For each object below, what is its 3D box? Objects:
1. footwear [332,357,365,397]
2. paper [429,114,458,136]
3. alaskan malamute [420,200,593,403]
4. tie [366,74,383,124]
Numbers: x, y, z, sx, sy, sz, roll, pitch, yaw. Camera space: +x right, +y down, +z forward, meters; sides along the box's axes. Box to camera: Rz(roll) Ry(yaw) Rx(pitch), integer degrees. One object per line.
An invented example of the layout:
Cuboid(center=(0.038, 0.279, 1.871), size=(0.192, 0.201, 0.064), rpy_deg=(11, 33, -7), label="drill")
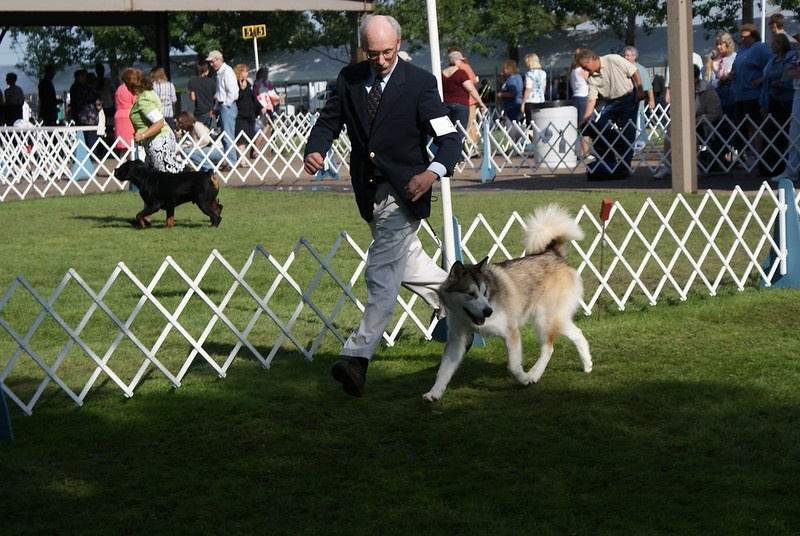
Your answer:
Cuboid(center=(-0.403, 0.819, 7.176), size=(0.157, 0.340, 0.220), rpy_deg=(-21, 34, 31), label="footwear")
Cuboid(center=(0.357, -1.128, 7.190), size=(0.112, 0.160, 0.248), rpy_deg=(6, 14, 39), label="paper")
Cuboid(center=(0.965, 0.291, 7.720), size=(0.733, 1.422, 1.953), rpy_deg=(11, 15, 43), label="alaskan malamute")
Cuboid(center=(-0.190, -1.335, 7.168), size=(0.139, 0.373, 0.084), rpy_deg=(0, 10, 16), label="tie")
